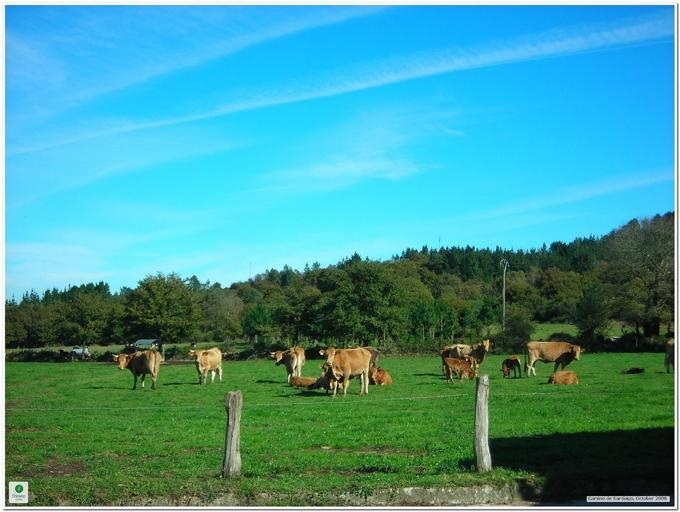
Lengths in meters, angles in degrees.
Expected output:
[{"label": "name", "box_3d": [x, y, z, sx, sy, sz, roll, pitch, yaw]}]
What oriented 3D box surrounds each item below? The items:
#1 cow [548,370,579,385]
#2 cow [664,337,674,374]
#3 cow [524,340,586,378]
[{"label": "cow", "box_3d": [11.207, 6.135, 35.999, 1.374, 0.603, 0.832, -2, -7, 11]}, {"label": "cow", "box_3d": [18.245, 5.593, 39.694, 0.461, 1.720, 2.146, -3, -7, 25]}, {"label": "cow", "box_3d": [12.515, 6.064, 41.319, 2.769, 2.339, 2.449, -6, -3, 26]}]
